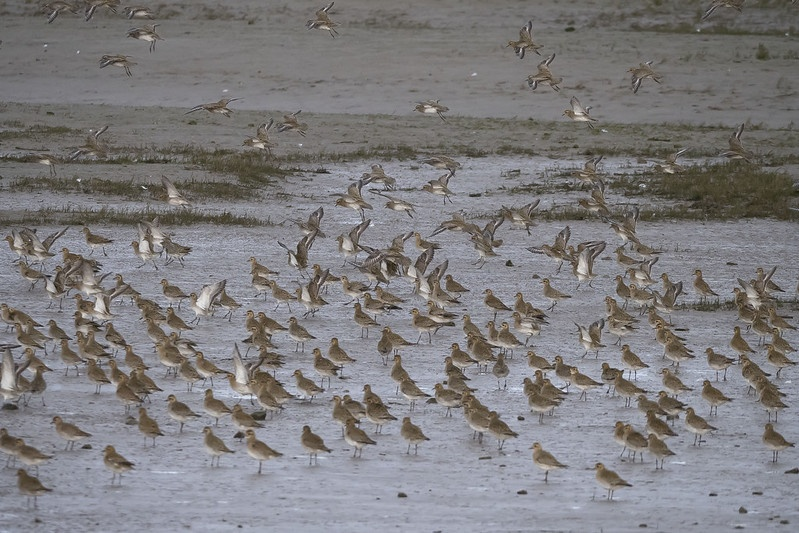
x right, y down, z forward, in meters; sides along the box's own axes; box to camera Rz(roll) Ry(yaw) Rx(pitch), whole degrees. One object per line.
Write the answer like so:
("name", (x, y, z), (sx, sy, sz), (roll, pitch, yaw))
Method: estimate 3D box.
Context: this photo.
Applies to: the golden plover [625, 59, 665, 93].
("golden plover", (8.597, -6.625, 50.140), (1.339, 1.326, 0.425), (8, 73, 7))
